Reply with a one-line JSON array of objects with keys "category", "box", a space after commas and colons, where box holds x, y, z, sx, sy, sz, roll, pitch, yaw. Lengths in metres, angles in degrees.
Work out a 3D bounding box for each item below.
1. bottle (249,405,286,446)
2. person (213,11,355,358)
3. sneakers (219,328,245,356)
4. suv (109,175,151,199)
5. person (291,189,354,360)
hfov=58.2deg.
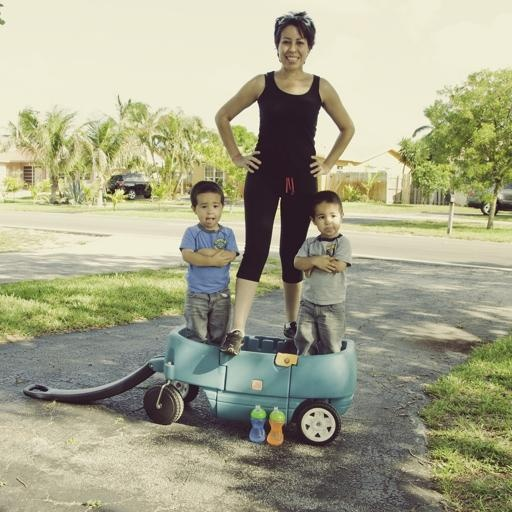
[{"category": "bottle", "box": [0.056, 0.865, 2.364, 0.185, 0.166, 0.096, 2, -8, 2]}, {"category": "person", "box": [0.164, -0.480, 2.794, 0.917, 1.960, 0.682, 2, -1, -22]}, {"category": "sneakers", "box": [-0.140, 0.469, 2.477, 0.065, 0.070, 0.168, 20, 7, 2]}, {"category": "suv", "box": [-10.022, -5.719, 37.309, 1.937, 1.540, 3.168, -5, 15, -29]}, {"category": "person", "box": [0.381, 0.104, 2.687, 0.326, 0.974, 0.275, 2, 5, 4]}]
